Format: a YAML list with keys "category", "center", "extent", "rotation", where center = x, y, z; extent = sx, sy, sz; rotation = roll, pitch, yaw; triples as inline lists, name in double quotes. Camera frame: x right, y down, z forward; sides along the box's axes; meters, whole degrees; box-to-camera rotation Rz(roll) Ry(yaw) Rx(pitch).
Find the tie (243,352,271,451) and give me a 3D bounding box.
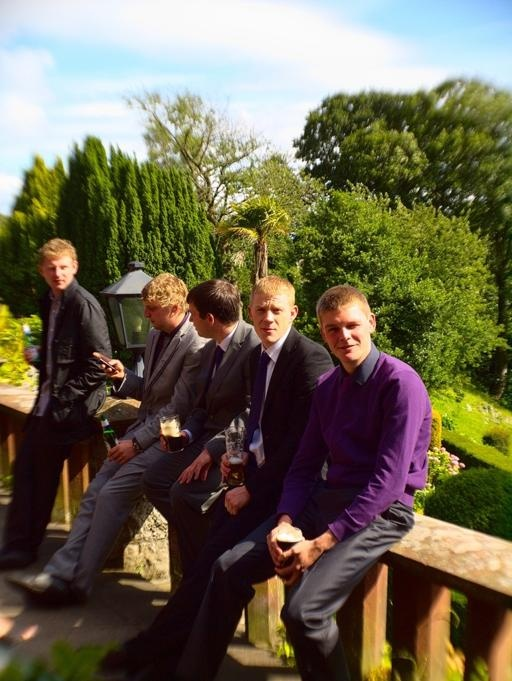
- category: "tie"
  center: [0.021, 0.279, 2.754]
  extent: [0.089, 0.621, 0.067]
  rotation: [4, -24, 17]
